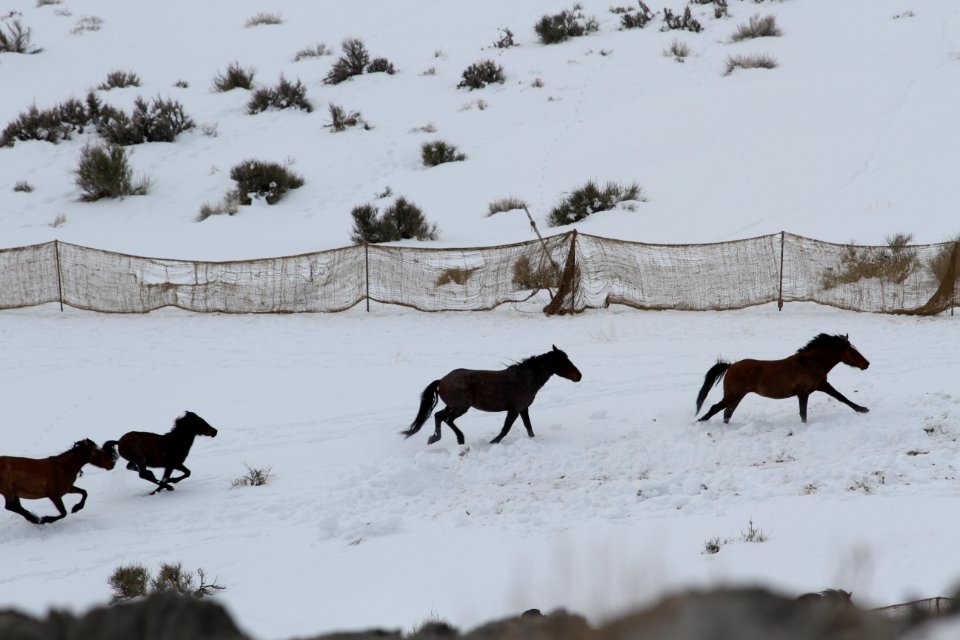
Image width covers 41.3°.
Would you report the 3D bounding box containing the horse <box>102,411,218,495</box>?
[{"bbox_3d":[-8.326,3.383,33.031,2.999,2.207,0.746,1,0,-11],"label":"horse"}]
